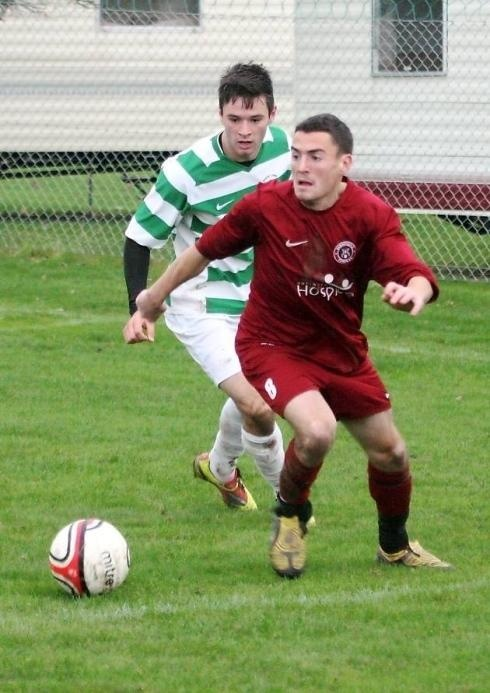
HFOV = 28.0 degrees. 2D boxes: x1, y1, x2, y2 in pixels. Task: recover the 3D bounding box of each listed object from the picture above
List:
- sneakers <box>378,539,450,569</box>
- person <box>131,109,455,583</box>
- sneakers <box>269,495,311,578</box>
[{"bbox_3d":[0.636,0.796,3.751,0.298,0.090,0.091,0,-2,9],"label":"sneakers"},{"bbox_3d":[0.278,0.007,3.573,1.033,1.663,0.559,11,15,39],"label":"person"},{"bbox_3d":[0.161,0.701,3.641,0.131,0.138,0.293,12,45,-11],"label":"sneakers"}]
